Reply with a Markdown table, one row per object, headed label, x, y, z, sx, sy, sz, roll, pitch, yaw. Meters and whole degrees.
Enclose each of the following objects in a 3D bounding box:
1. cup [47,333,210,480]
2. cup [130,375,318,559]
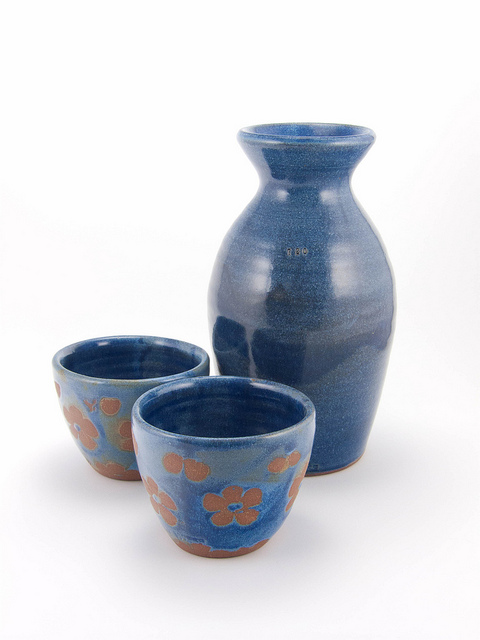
| label | x | y | z | sx | sy | sz | roll | pitch | yaw |
| --- | --- | --- | --- | --- | --- | --- | --- | --- | --- |
| cup | -0.176 | 0.120 | 1.193 | 0.300 | 0.229 | 0.296 | 1 | 16 | 0 |
| cup | -0.024 | 0.218 | 1.007 | 0.267 | 0.205 | 0.268 | 0 | 15 | 0 |
